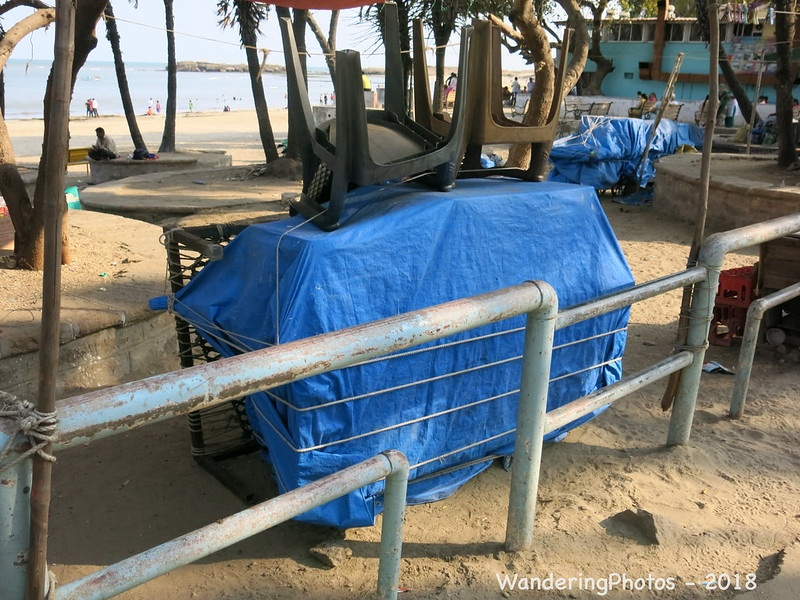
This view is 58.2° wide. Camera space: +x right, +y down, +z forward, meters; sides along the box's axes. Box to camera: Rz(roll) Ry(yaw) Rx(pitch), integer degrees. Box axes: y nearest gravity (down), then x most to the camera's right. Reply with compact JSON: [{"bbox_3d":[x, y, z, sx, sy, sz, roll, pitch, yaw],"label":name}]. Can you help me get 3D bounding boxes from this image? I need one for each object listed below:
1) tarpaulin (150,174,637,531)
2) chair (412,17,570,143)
[{"bbox_3d":[-0.166,0.101,4.082,2.426,1.527,1.809,-12,19,-34],"label":"tarpaulin"},{"bbox_3d":[0.745,-1.218,4.388,0.780,0.789,0.808,-7,19,-7],"label":"chair"}]
